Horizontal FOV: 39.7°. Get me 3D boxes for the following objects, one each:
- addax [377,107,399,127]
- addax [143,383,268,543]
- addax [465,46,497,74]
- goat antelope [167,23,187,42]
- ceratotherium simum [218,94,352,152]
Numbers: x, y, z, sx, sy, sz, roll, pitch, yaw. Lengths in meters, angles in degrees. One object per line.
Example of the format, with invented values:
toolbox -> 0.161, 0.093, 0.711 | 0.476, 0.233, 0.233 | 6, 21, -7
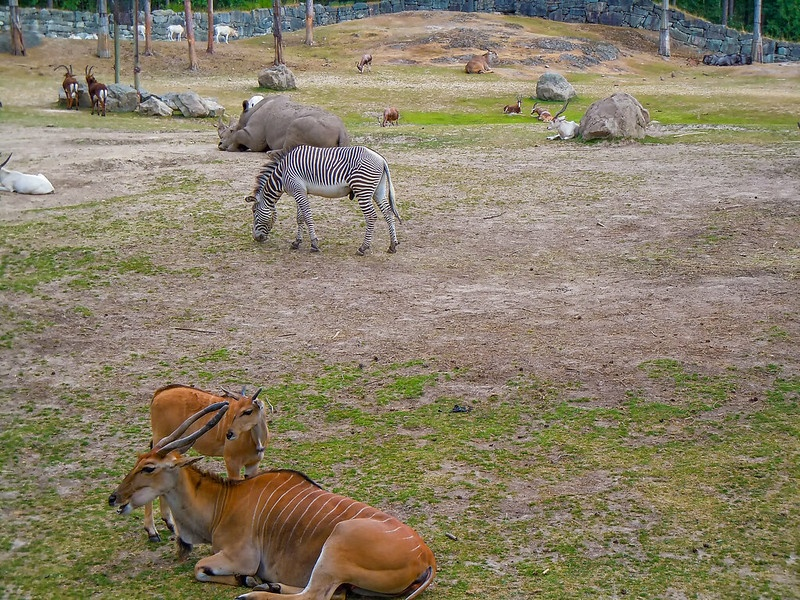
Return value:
addax -> -0.262, -4.670, 28.142 | 0.443, 0.430, 1.196 | 0, 11, -1
addax -> -1.781, 1.477, 11.022 | 1.132, 1.507, 1.404 | -11, 26, -32
addax -> 3.105, -9.181, 42.728 | 0.699, 0.977, 2.024 | 13, 28, 35
goat antelope -> -10.104, -12.167, 49.944 | 0.781, 0.757, 2.024 | -2, 12, -11
ceratotherium simum -> -2.465, -3.582, 22.747 | 1.332, 1.162, 3.302 | -8, 14, -36
